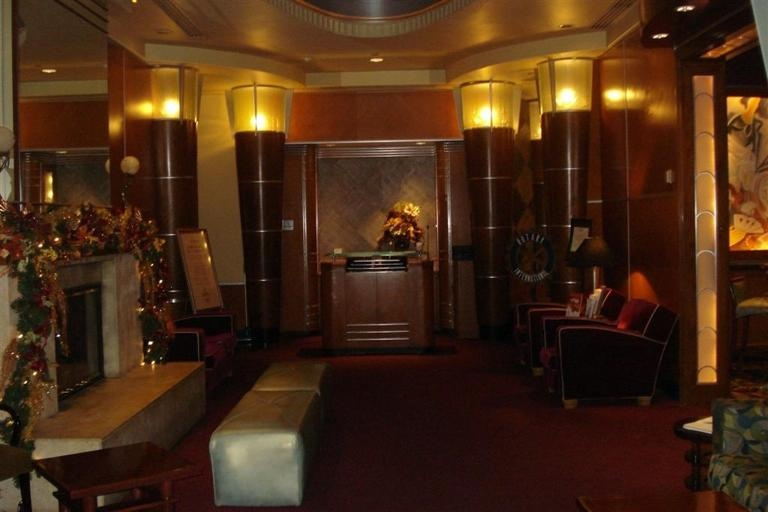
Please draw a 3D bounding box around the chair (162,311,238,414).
[{"bbox_3d":[-2.275,1.197,7.852,0.645,0.757,1.122,1,8,9],"label":"chair"}]

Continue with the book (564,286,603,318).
[{"bbox_3d":[2.444,0.587,7.714,0.426,0.294,0.315,-1,3,1],"label":"book"}]

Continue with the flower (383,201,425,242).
[{"bbox_3d":[0.265,-0.508,9.639,0.633,0.601,0.623,3,-5,-41],"label":"flower"}]

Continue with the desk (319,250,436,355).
[{"bbox_3d":[-0.079,0.648,9.417,1.439,1.247,1.428,-1,0,2],"label":"desk"}]

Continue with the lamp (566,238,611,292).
[{"bbox_3d":[2.683,0.167,8.310,0.499,0.934,1.714,0,8,16],"label":"lamp"}]

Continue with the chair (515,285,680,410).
[{"bbox_3d":[2.406,1.061,7.065,1.143,0.979,1.470,-1,-2,3],"label":"chair"}]
